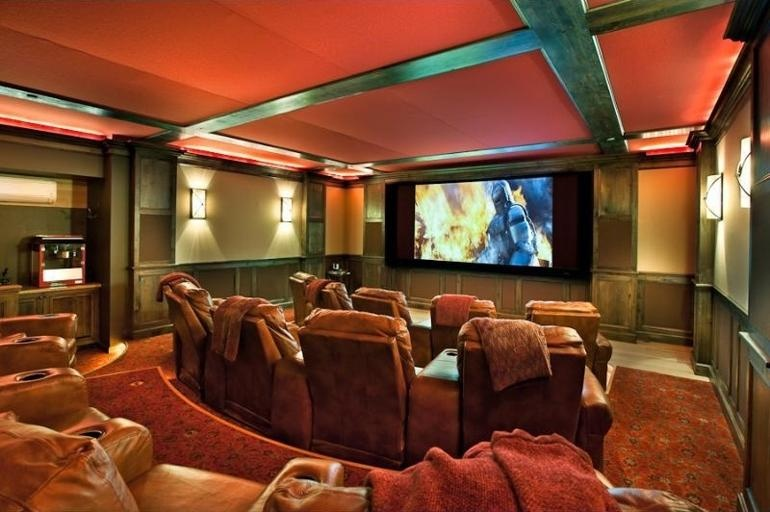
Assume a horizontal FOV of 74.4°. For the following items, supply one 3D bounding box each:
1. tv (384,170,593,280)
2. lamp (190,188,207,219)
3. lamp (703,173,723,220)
[{"bbox_3d":[1.834,-0.602,9.742,4.235,1.951,0.228,2,14,28],"label":"tv"},{"bbox_3d":[-3.165,-0.870,8.560,0.108,0.527,0.256,-1,2,29],"label":"lamp"},{"bbox_3d":[4.170,-0.749,6.425,0.221,0.633,0.631,1,1,28],"label":"lamp"}]
